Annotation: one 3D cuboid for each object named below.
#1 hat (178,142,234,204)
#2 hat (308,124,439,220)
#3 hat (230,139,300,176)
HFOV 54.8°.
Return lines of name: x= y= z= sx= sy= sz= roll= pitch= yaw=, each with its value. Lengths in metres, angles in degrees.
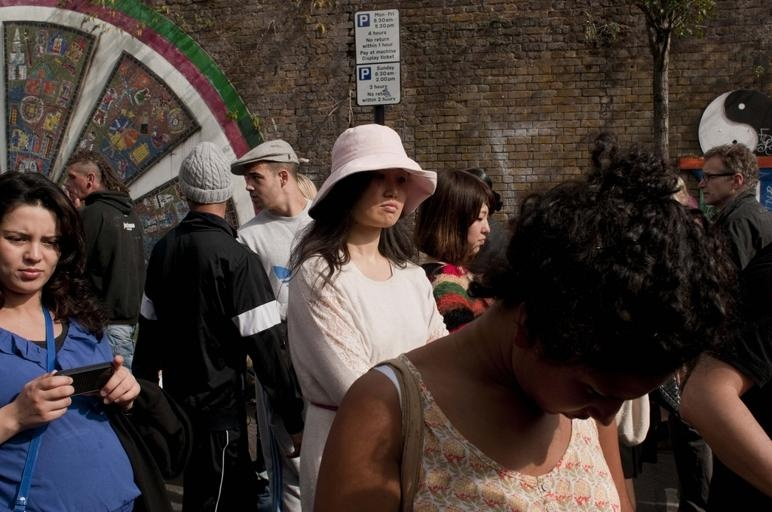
hat: x=-1.293 y=-0.585 z=5.524 sx=0.396 sy=0.452 sz=0.408 roll=-3 pitch=3 yaw=37
hat: x=-0.040 y=-0.635 z=4.456 sx=0.520 sy=0.399 sz=0.659 roll=-30 pitch=-29 yaw=35
hat: x=-0.990 y=-0.831 z=6.144 sx=0.393 sy=0.194 sz=0.331 roll=-4 pitch=1 yaw=-9
